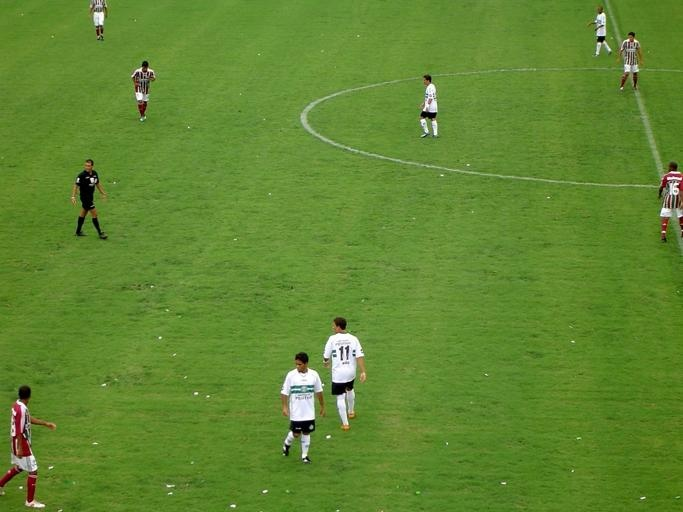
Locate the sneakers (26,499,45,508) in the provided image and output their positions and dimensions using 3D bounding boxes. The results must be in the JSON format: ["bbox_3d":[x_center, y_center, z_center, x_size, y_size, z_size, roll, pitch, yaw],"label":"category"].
[{"bbox_3d":[-8.427,6.900,44.323,0.539,0.189,0.192,3,18,-7],"label":"sneakers"}]
